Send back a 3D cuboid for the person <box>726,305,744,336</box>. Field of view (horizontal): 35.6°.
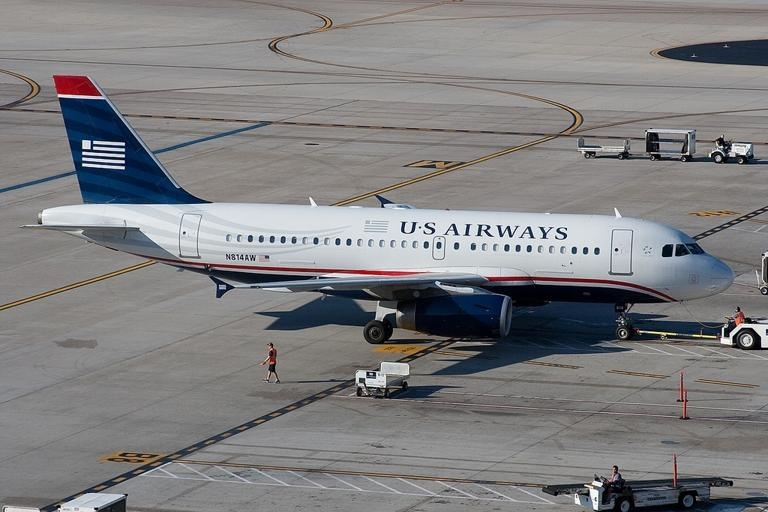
[{"bbox_3d":[20.784,3.786,70.772,1.043,1.259,1.036,-2,16,12],"label":"person"}]

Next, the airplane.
[{"bbox_3d":[0.127,-1.019,74.336,45.830,7.125,23.075,1,13,8],"label":"airplane"}]
